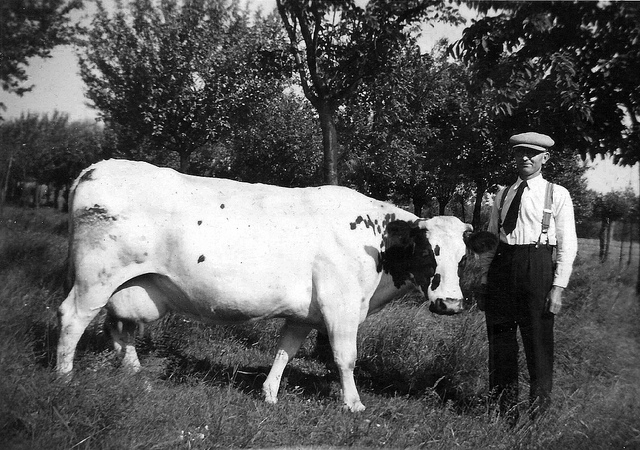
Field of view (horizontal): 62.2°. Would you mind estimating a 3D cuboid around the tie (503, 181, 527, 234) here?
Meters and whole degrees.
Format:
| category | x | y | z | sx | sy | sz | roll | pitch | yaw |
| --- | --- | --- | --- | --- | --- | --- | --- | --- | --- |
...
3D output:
| category | x | y | z | sx | sy | sz | roll | pitch | yaw |
| --- | --- | --- | --- | --- | --- | --- | --- | --- | --- |
| tie | 2.154 | -0.167 | 5.868 | 0.153 | 0.646 | 0.046 | 12 | -10 | 47 |
